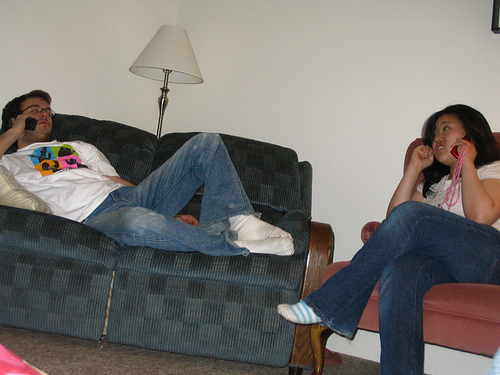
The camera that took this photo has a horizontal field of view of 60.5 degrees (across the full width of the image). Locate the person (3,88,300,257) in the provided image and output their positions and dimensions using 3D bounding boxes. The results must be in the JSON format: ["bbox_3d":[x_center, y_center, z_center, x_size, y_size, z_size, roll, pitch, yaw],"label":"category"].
[{"bbox_3d":[-0.552,-0.018,2.158,1.475,0.666,0.759,7,5,18],"label":"person"}]

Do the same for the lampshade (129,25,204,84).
[{"bbox_3d":[-0.557,-0.936,2.968,0.519,0.350,0.491,5,3,-38],"label":"lampshade"}]

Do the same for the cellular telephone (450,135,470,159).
[{"bbox_3d":[1.000,-0.182,2.015,0.023,0.103,0.086,28,30,23],"label":"cellular telephone"}]
